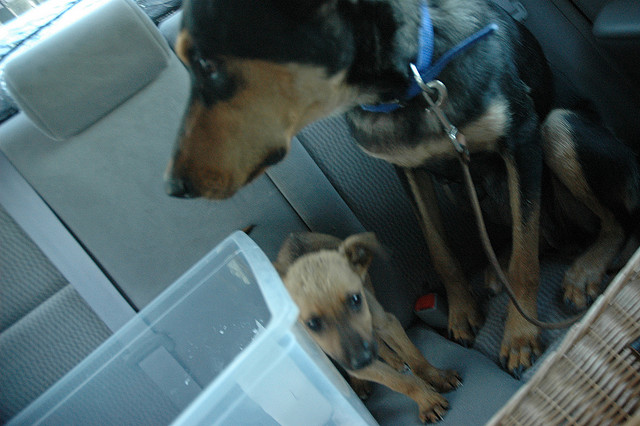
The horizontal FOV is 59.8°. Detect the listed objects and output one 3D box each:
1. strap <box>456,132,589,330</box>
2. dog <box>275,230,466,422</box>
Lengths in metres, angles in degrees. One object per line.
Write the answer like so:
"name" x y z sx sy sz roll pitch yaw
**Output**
"strap" 0.502 0.056 1.428 0.190 0.713 0.035 -18 27 34
"dog" 0.108 0.212 1.554 0.280 0.386 0.864 -48 17 20
